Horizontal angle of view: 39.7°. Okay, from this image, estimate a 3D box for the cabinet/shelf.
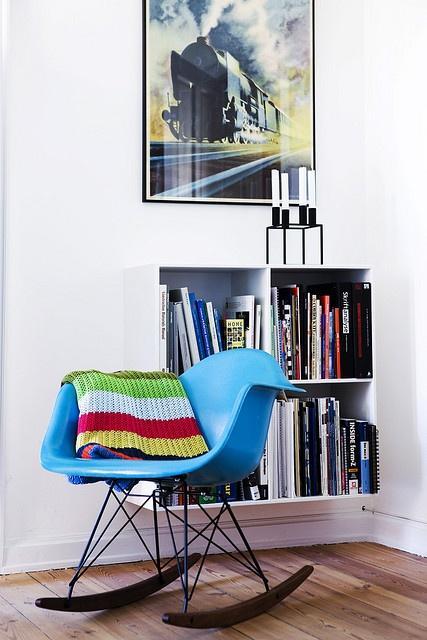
[{"bbox_3d":[0.122,0.216,1.898,0.859,0.842,0.283,1,-7,-18],"label":"cabinet/shelf"}]
